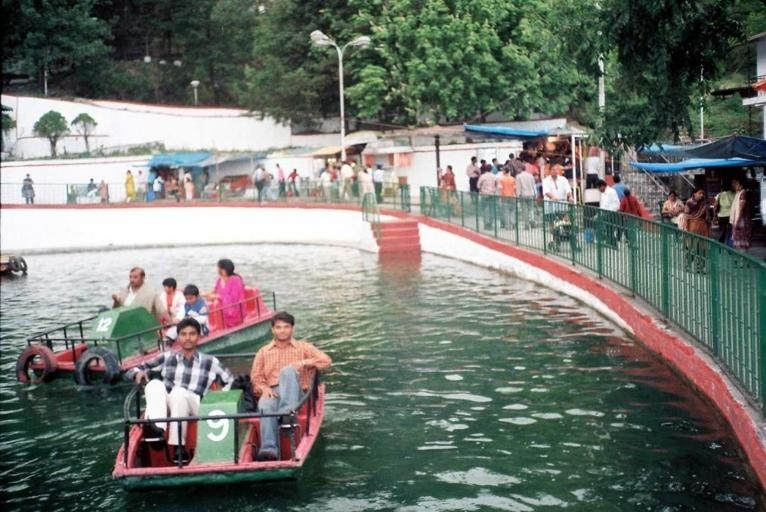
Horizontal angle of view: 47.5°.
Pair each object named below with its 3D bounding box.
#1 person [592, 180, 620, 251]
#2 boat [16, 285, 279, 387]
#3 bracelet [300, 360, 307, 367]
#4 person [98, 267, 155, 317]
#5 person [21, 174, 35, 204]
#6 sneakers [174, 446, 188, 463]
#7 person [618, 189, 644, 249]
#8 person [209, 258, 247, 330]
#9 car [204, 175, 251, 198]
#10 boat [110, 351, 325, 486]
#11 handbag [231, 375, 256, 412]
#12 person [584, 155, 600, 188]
[{"bbox_3d":[6.585,-1.218,24.704,0.611,1.880,0.684,-15,2,-33],"label":"person"},{"bbox_3d":[-5.154,1.902,19.954,2.571,1.448,4.607,-10,-1,34],"label":"boat"},{"bbox_3d":[-1.425,1.940,15.614,0.121,0.125,0.034,0,-2,-5],"label":"bracelet"},{"bbox_3d":[-5.477,0.869,19.353,1.221,1.226,0.768,7,9,11],"label":"person"},{"bbox_3d":[-18.060,-3.286,44.252,0.605,1.010,1.928,-8,14,-22],"label":"person"},{"bbox_3d":[-3.409,3.370,14.670,0.173,0.199,0.474,1,-4,-8],"label":"sneakers"},{"bbox_3d":[6.690,-1.165,23.252,0.558,1.429,0.381,-2,29,23],"label":"person"},{"bbox_3d":[-3.744,0.920,20.621,0.851,1.651,0.900,-8,21,-32],"label":"person"},{"bbox_3d":[-8.435,-3.755,47.290,1.784,0.933,1.907,2,7,24],"label":"car"},{"bbox_3d":[-2.932,3.051,15.981,3.587,1.708,4.588,-1,6,0],"label":"boat"},{"bbox_3d":[-2.435,2.433,15.320,0.420,0.617,0.206,0,-4,18],"label":"handbag"},{"bbox_3d":[7.934,-3.122,32.706,0.458,1.149,0.587,-2,12,6],"label":"person"}]
